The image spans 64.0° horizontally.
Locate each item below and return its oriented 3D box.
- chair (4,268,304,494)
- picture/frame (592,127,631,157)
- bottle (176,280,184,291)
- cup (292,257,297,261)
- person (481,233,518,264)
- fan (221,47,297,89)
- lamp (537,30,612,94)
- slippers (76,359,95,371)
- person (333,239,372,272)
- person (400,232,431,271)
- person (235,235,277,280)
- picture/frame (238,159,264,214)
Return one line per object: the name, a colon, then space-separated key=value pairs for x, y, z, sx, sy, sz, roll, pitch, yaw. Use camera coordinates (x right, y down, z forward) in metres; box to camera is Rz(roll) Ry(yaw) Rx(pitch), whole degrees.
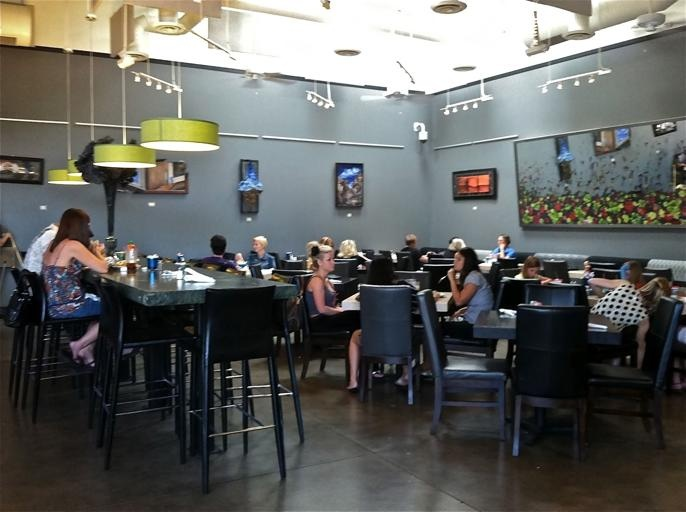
chair: x=-1.156 y=0.830 z=4.374 sx=1.068 sy=1.345 sz=1.470 roll=-5 pitch=10 yaw=-38
picture/frame: x=4.996 y=-2.123 z=10.158 sx=0.052 sy=0.593 sz=0.710 roll=3 pitch=-1 yaw=-35
bottle: x=-1.207 y=0.217 z=4.013 sx=0.048 sy=0.075 sz=0.044 roll=1 pitch=11 yaw=0
cup: x=-1.009 y=0.048 z=11.145 sx=0.111 sy=0.072 sz=0.110 roll=0 pitch=-4 yaw=0
person: x=3.120 y=-0.120 z=10.882 sx=0.625 sy=0.756 sz=1.017 roll=2 pitch=0 yaw=-8
fan: x=-1.862 y=-3.815 z=11.557 sx=1.879 sy=0.236 sz=0.548 roll=8 pitch=2 yaw=-35
lamp: x=4.438 y=-3.692 z=10.391 sx=0.159 sy=0.551 sz=1.345 roll=5 pitch=-7 yaw=-40
slippers: x=-2.310 y=0.974 z=4.876 sx=0.265 sy=0.078 sz=0.101 roll=-1 pitch=-23 yaw=26
person: x=0.308 y=-0.021 z=9.911 sx=0.714 sy=0.759 sz=0.588 roll=0 pitch=2 yaw=-41
person: x=1.459 y=-0.086 z=11.958 sx=0.782 sy=0.872 sz=0.874 roll=1 pitch=0 yaw=14
person: x=-1.375 y=0.152 z=8.653 sx=0.584 sy=0.841 sz=0.572 roll=-3 pitch=10 yaw=-39
picture/frame: x=-2.030 y=-1.477 z=11.834 sx=0.497 sy=1.219 sz=0.334 roll=-2 pitch=9 yaw=-19
